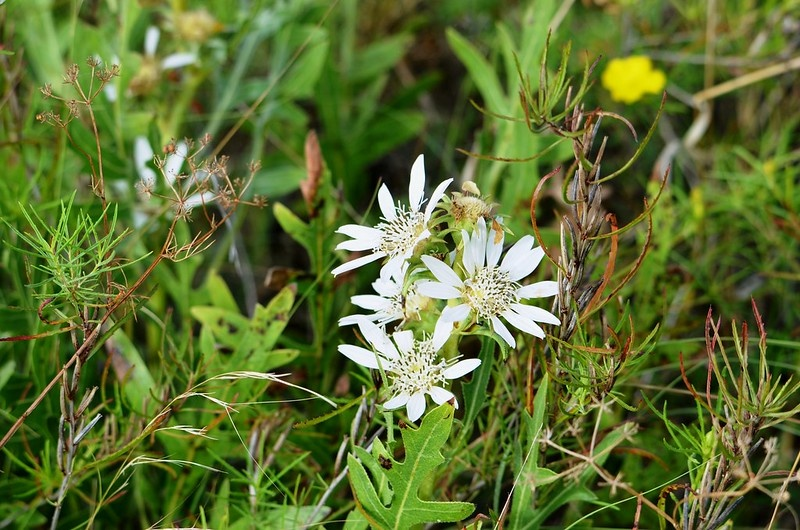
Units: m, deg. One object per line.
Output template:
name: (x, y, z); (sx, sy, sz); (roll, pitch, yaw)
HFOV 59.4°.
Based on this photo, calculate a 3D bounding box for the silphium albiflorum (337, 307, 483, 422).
silphium albiflorum: (0.017, 0.099, 0.606); (0.110, 0.047, 0.138); (13, 3, 12)

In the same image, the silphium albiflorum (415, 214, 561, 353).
silphium albiflorum: (0.075, 0.023, 0.601); (0.120, 0.052, 0.139); (-15, 44, -21)
